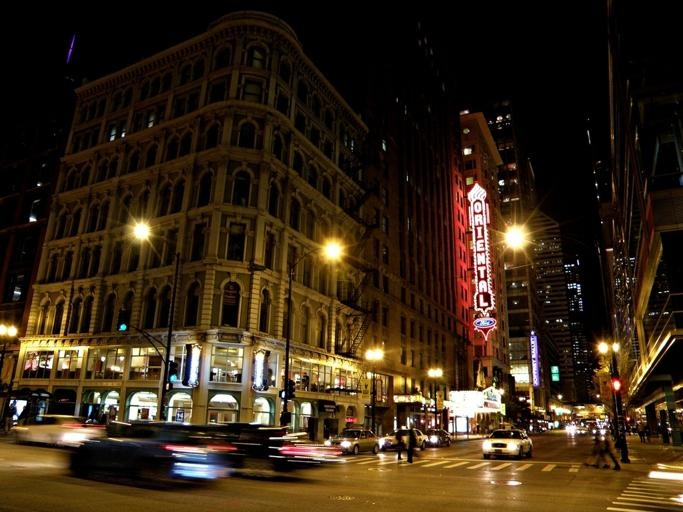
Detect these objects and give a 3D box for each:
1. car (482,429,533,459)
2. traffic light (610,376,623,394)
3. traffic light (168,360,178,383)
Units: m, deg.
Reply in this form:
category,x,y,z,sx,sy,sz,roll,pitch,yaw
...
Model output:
category,x,y,z,sx,sy,sz,roll,pitch,yaw
car,11.060,12.558,37.151,2.638,1.951,4.037,-7,-22,18
traffic light,18.462,8.619,37.099,0.532,1.079,1.629,-8,-22,21
traffic light,-10.979,7.453,35.936,0.506,1.294,0.830,3,-21,-8
